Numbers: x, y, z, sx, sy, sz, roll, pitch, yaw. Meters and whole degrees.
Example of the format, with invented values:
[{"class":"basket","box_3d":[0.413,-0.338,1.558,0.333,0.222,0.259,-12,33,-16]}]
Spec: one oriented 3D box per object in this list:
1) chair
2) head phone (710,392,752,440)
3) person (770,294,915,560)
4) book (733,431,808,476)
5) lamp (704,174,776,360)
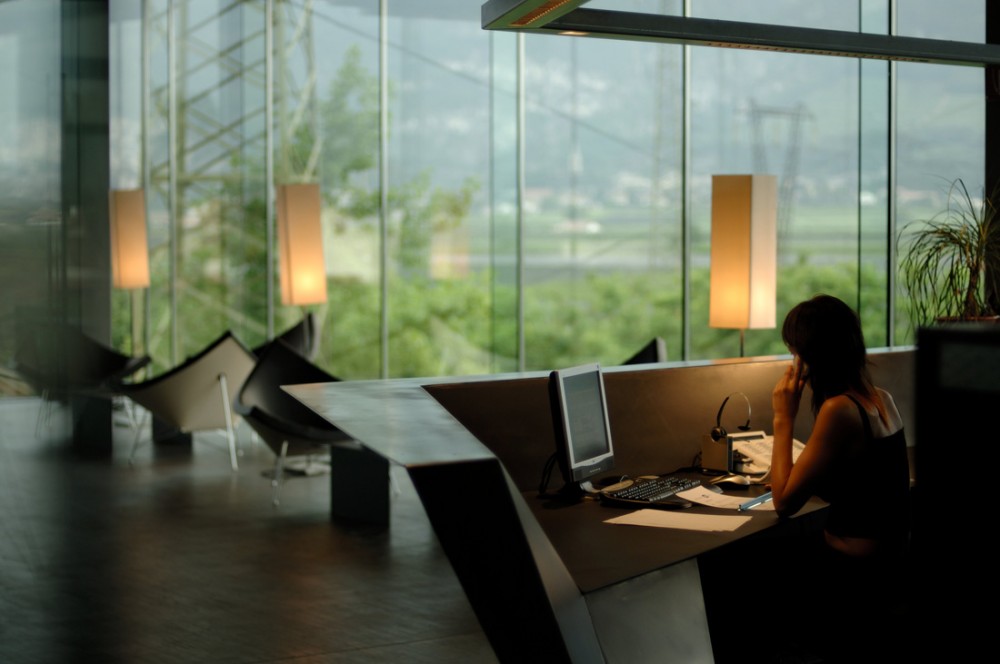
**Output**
[{"class":"chair","box_3d":[-2.684,0.556,7.013,1.565,0.853,1.551,7,-9,-8]},{"class":"head phone","box_3d":[1.263,0.460,4.764,0.213,0.254,0.072,0,-8,-27]},{"class":"person","box_3d":[1.548,0.403,3.982,0.637,1.115,0.577,6,10,25]},{"class":"book","box_3d":[1.385,0.646,4.610,0.298,0.146,0.390,-4,11,-30]},{"class":"lamp","box_3d":[1.603,-0.478,5.751,0.449,1.118,0.300,4,9,13]}]
